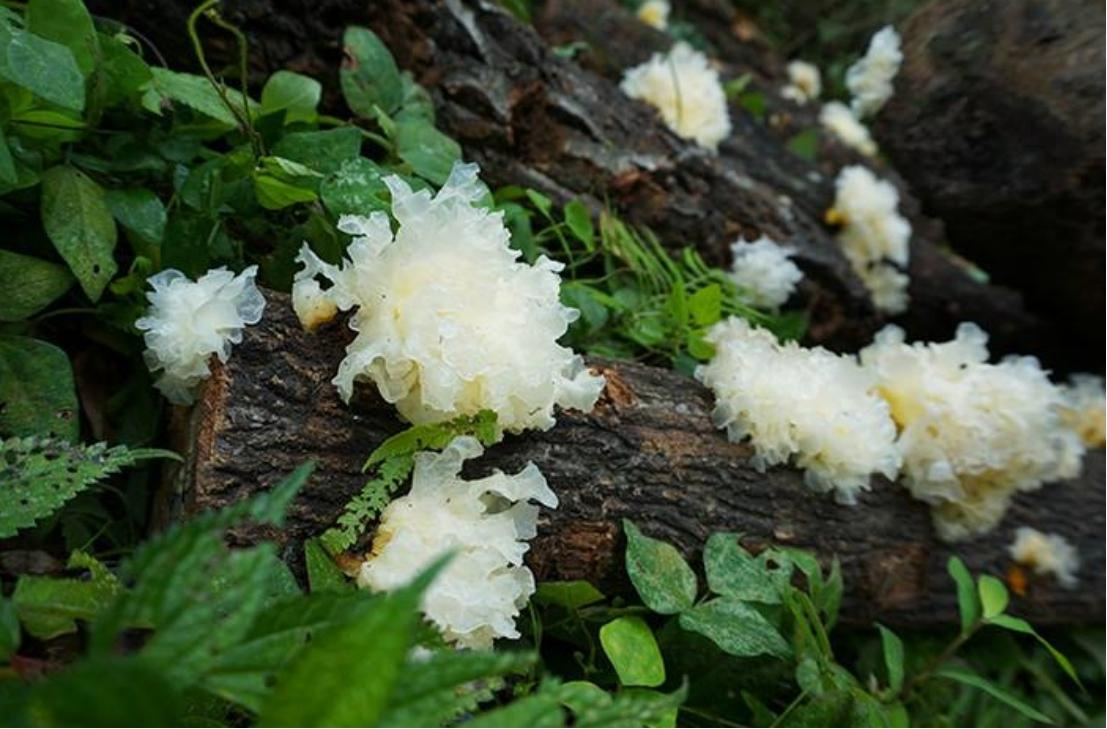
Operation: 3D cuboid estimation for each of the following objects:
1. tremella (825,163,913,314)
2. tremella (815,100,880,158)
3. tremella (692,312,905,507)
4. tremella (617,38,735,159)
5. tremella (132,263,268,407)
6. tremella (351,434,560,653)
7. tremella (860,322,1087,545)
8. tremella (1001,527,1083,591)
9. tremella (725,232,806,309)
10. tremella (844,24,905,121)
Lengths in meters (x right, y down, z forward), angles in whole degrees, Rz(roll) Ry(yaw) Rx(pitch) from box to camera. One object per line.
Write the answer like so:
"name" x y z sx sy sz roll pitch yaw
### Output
"tremella" 0.904 -0.359 2.900 0.287 0.234 0.392 -43 119 -65
"tremella" 0.895 -0.717 2.972 0.209 0.051 0.125 46 35 15
"tremella" 0.513 0.087 2.036 0.464 0.137 0.334 30 51 20
"tremella" 0.344 -0.728 2.730 0.190 0.263 0.309 -38 100 7
"tremella" -0.638 -0.093 1.821 0.098 0.226 0.239 48 12 -33
"tremella" -0.210 0.326 1.907 0.386 0.149 0.384 36 69 -15
"tremella" 0.862 0.158 2.174 0.467 0.168 0.473 -24 97 -21
"tremella" 1.147 0.447 2.310 0.107 0.154 0.041 -42 118 -31
"tremella" 0.550 -0.238 2.677 0.202 0.126 0.205 23 79 -6
"tremella" 0.952 -0.858 2.876 0.051 0.222 0.226 16 59 -19
